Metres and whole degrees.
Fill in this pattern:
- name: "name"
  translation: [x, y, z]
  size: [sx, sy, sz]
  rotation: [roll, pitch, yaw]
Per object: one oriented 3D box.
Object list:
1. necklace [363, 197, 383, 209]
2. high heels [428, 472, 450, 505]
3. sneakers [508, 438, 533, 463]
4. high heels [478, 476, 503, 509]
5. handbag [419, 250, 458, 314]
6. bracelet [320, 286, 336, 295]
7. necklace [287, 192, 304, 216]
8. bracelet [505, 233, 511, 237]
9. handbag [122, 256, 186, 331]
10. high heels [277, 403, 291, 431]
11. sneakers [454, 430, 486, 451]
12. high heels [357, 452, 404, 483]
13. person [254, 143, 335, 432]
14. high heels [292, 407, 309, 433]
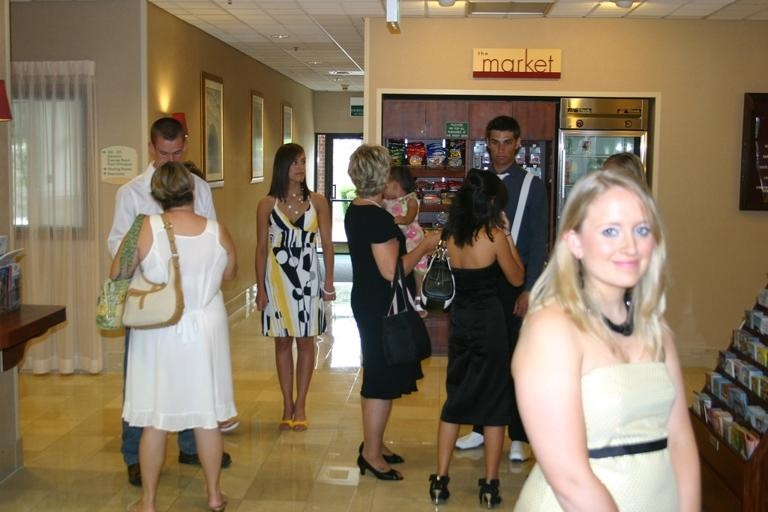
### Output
- name: "necklace"
  translation: [-0.075, -0.344, 3.670]
  size: [0.103, 0.078, 0.078]
  rotation: [-10, 13, -40]
- name: "high heels"
  translation: [0.349, 1.495, 3.723]
  size: [0.111, 0.206, 0.107]
  rotation: [-4, -6, 6]
- name: "sneakers"
  translation: [0.993, 1.443, 4.194]
  size: [0.091, 0.100, 0.253]
  rotation: [-2, -8, 10]
- name: "high heels"
  translation: [0.677, 1.507, 3.629]
  size: [0.091, 0.133, 0.269]
  rotation: [0, 6, 8]
- name: "handbag"
  translation: [0.330, 0.164, 3.529]
  size: [0.193, 0.339, 0.122]
  rotation: [2, -7, 6]
- name: "bracelet"
  translation: [-0.481, 0.290, 4.771]
  size: [0.192, 0.097, 0.247]
  rotation: [0, -3, -3]
- name: "necklace"
  translation: [-0.696, -0.412, 4.467]
  size: [0.123, 0.159, 0.044]
  rotation: [1, 1, -23]
- name: "bracelet"
  translation: [0.751, -0.133, 3.485]
  size: [0.029, 0.009, 0.029]
  rotation: [-3, -21, 9]
- name: "handbag"
  translation: [-1.320, 0.199, 3.243]
  size: [0.387, 0.472, 0.180]
  rotation: [-3, -10, 3]
- name: "high heels"
  translation: [-0.803, 1.313, 4.652]
  size: [0.079, 0.101, 0.241]
  rotation: [1, -4, -1]
- name: "sneakers"
  translation: [0.653, 1.427, 4.444]
  size: [0.306, 0.119, 0.166]
  rotation: [0, 4, -15]
- name: "high heels"
  translation: [-0.023, 1.466, 3.977]
  size: [0.396, 0.203, 0.133]
  rotation: [0, 0, 4]
- name: "person"
  translation: [-0.720, 0.264, 4.592]
  size: [0.622, 2.275, 0.362]
  rotation: [-2, 10, -8]
- name: "high heels"
  translation: [-0.692, 1.331, 4.637]
  size: [0.083, 0.100, 0.240]
  rotation: [0, -3, -7]
